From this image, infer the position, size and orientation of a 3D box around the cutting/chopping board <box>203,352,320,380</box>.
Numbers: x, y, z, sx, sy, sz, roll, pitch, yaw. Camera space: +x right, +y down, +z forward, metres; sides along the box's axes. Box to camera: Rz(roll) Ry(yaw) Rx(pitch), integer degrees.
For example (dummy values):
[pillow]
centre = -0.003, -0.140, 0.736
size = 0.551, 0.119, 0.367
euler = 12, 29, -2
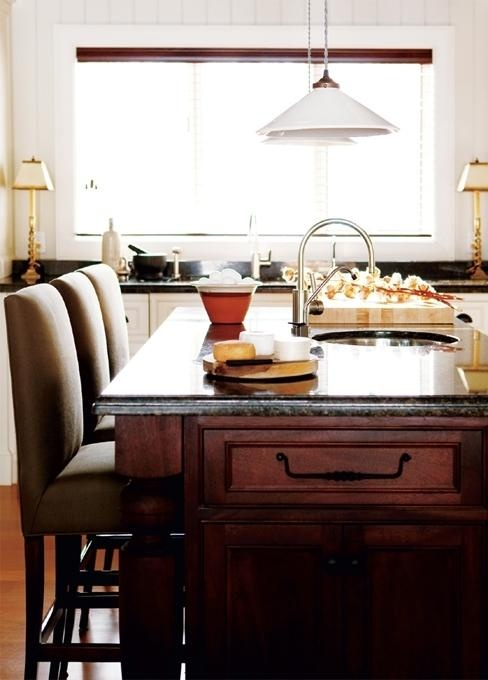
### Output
[cutting/chopping board]
centre = 0.023, 0.050, 1.228
size = 0.211, 0.036, 0.120
euler = 1, 12, 8

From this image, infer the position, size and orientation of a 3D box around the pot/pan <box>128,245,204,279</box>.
[pot/pan]
centre = -0.452, -0.417, 3.863
size = 0.214, 0.145, 0.353
euler = 5, 8, 31

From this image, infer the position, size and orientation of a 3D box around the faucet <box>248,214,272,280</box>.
[faucet]
centre = 0.090, -0.544, 3.987
size = 0.137, 0.372, 0.396
euler = 0, 11, 4

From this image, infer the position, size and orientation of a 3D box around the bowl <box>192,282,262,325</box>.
[bowl]
centre = -0.046, -0.128, 2.101
size = 0.224, 0.152, 0.215
euler = 1, 3, 0
